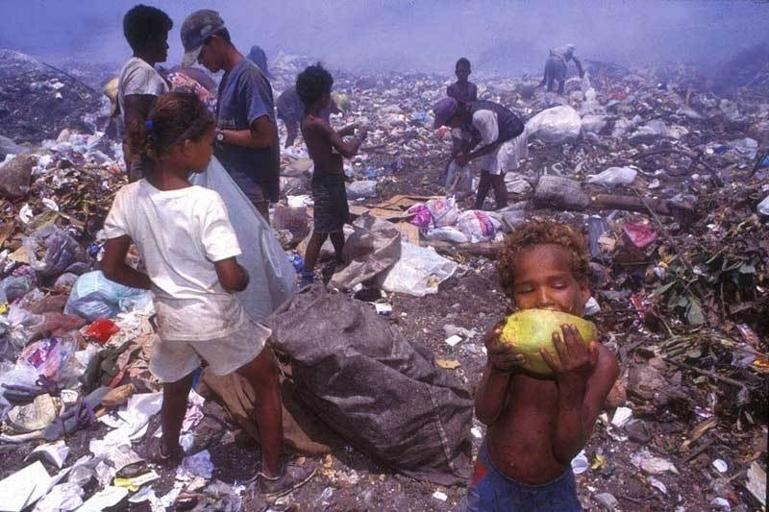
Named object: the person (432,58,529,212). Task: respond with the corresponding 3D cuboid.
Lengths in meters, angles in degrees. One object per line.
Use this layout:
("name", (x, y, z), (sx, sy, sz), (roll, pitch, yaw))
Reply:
("person", (1.316, -1.402, 7.522), (1.280, 1.606, 0.762), (-2, 28, 4))

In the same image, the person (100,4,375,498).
("person", (-1.365, 0.378, 4.037), (1.055, 2.876, 1.255), (-27, 36, -36))

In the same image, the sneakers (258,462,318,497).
("sneakers", (-0.766, 1.756, 4.334), (0.384, 0.159, 0.216), (-19, 26, -29))

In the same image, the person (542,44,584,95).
("person", (5.637, -6.004, 17.394), (0.799, 1.303, 3.738), (10, 30, 24))

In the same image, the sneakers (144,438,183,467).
("sneakers", (-1.832, 1.634, 4.500), (0.194, 0.306, 0.177), (-23, 37, 61))

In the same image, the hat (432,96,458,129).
("hat", (0.794, -1.863, 7.036), (0.281, 0.373, 0.172), (27, 0, 37))
